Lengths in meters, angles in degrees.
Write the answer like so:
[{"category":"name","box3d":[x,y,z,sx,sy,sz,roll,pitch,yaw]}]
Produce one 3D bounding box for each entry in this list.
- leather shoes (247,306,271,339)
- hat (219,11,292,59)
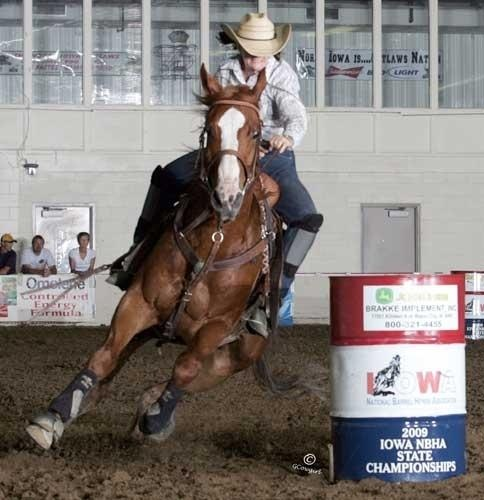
[{"category":"leather shoes","box3d":[0.185,0.702,11.866,0.159,0.281,0.208,-3,-4,37]},{"category":"hat","box3d":[0.151,-2.076,12.006,0.487,0.236,0.566,2,24,-6]}]
